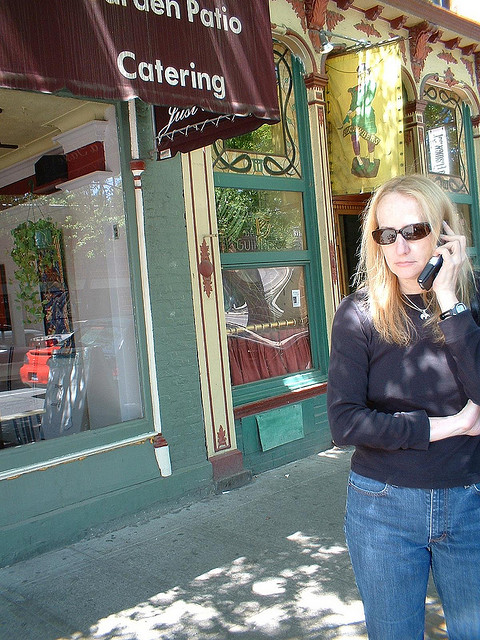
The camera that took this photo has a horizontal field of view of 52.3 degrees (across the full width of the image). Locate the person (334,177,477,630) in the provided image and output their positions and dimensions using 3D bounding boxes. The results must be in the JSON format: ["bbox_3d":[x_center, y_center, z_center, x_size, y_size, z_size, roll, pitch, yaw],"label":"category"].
[{"bbox_3d":[0.442,0.182,1.216,0.408,0.955,0.281,-6,-3,9],"label":"person"}]

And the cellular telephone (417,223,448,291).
[{"bbox_3d":[0.474,-0.153,1.197,0.037,0.184,0.054,26,-27,15],"label":"cellular telephone"}]

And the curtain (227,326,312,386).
[{"bbox_3d":[0.496,0.453,6.296,1.523,0.643,0.114,-1,13,-35],"label":"curtain"}]

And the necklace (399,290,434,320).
[{"bbox_3d":[0.453,-0.038,1.236,0.061,0.059,0.018,-8,-23,-2],"label":"necklace"}]
